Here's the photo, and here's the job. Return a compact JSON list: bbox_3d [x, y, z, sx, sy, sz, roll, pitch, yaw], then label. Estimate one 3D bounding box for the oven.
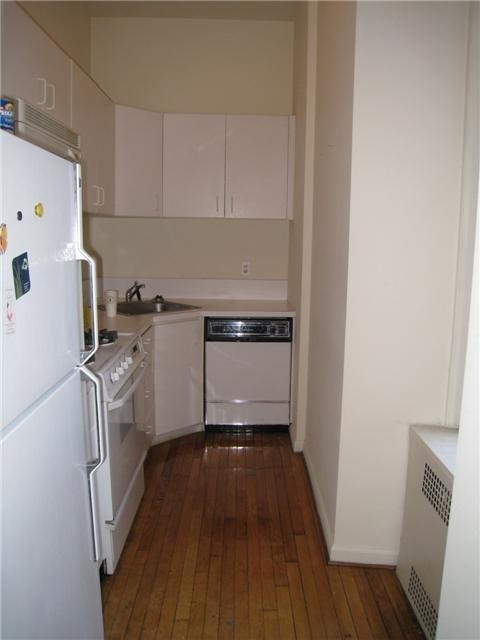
[{"bbox_3d":[-0.476,0.619,1.940,0.214,0.632,0.539,-2,17,-6],"label":"oven"}]
